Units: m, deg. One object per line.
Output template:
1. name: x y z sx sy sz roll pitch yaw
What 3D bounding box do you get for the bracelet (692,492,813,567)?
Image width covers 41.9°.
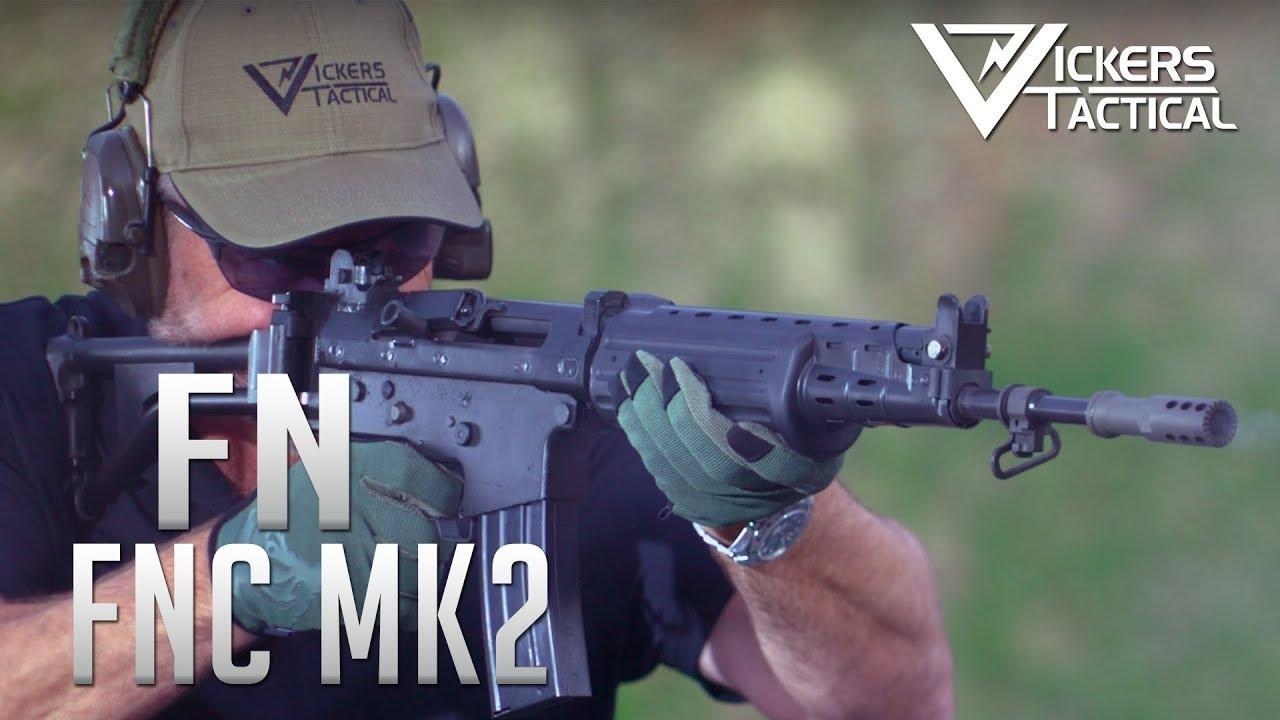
1. bracelet: 0.430 0.627 6.339 0.271 0.158 0.355 -41 44 -24
